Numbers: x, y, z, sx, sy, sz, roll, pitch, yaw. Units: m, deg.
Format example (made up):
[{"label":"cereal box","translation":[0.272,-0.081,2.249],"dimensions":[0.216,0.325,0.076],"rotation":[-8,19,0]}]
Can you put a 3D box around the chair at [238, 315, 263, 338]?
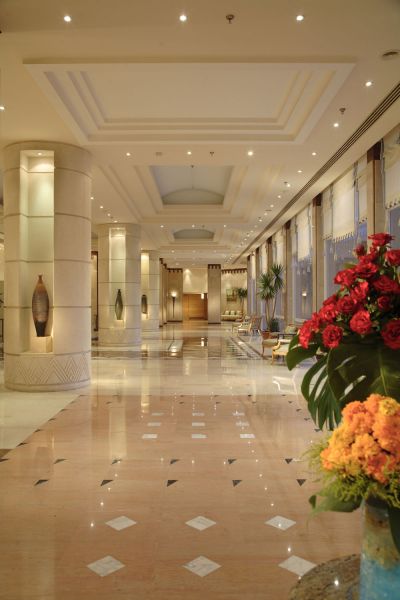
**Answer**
[{"label":"chair","translation":[2.394,1.284,19.172],"dimensions":[0.884,1.243,1.225],"rotation":[-3,-6,28]}]
